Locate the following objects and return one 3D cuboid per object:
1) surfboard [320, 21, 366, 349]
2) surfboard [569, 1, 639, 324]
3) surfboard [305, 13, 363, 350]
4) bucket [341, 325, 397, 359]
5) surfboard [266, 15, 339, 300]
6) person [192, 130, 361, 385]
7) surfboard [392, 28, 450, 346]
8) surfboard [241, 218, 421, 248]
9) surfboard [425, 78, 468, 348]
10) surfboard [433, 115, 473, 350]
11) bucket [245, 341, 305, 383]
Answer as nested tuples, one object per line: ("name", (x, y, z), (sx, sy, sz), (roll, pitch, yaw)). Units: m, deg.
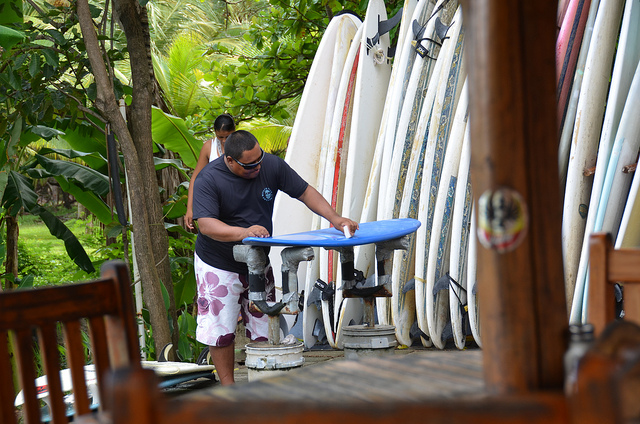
("surfboard", (0.122, -0.224, 6.209), (0.231, 2.555, 0.412), (-7, -18, 37))
("surfboard", (1.894, -0.578, 5.038), (0.132, 2.202, 0.697), (1, 5, 29))
("surfboard", (0.174, -0.312, 6.451), (0.200, 2.692, 0.492), (7, -7, -13))
("bucket", (0.327, 0.851, 5.196), (0.304, 0.295, 0.322), (0, -6, 0))
("surfboard", (-0.143, -0.562, 6.650), (0.472, 2.582, 0.265), (22, -15, -37))
("person", (-0.441, 0.314, 5.314), (0.930, 1.296, 0.984), (-5, -2, -1))
("surfboard", (0.734, -0.147, 5.908), (0.201, 2.483, 0.464), (13, -7, -22))
("surfboard", (0.084, 0.145, 4.972), (1.207, 0.150, 0.699), (-4, -3, -18))
("surfboard", (0.966, 0.076, 5.732), (0.172, 2.114, 0.285), (10, -6, -40))
("surfboard", (0.983, 0.221, 5.594), (0.188, 2.054, 0.368), (2, -1, -25))
("bucket", (-0.294, 0.860, 4.962), (0.336, 0.343, 0.359), (-1, -2, 0))
